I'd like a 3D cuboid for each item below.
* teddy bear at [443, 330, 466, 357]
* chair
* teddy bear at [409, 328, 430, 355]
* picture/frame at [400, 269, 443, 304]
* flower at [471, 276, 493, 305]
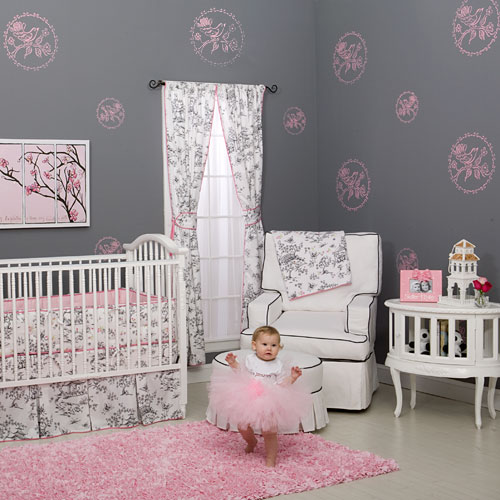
[{"bbox_3d":[1.114,0.513,2.749,0.115,0.142,0.195,0,-1,21],"label":"teddy bear"},{"bbox_3d":[0.432,0.455,3.368,1.024,1.115,1.094,-2,3,-37],"label":"chair"},{"bbox_3d":[0.935,0.527,2.888,0.150,0.153,0.096,0,1,-10],"label":"teddy bear"},{"bbox_3d":[0.992,0.217,2.925,0.175,0.166,0.021,1,-7,6],"label":"picture/frame"},{"bbox_3d":[1.250,0.230,2.731,0.089,0.149,0.117,0,-1,22],"label":"flower"}]
